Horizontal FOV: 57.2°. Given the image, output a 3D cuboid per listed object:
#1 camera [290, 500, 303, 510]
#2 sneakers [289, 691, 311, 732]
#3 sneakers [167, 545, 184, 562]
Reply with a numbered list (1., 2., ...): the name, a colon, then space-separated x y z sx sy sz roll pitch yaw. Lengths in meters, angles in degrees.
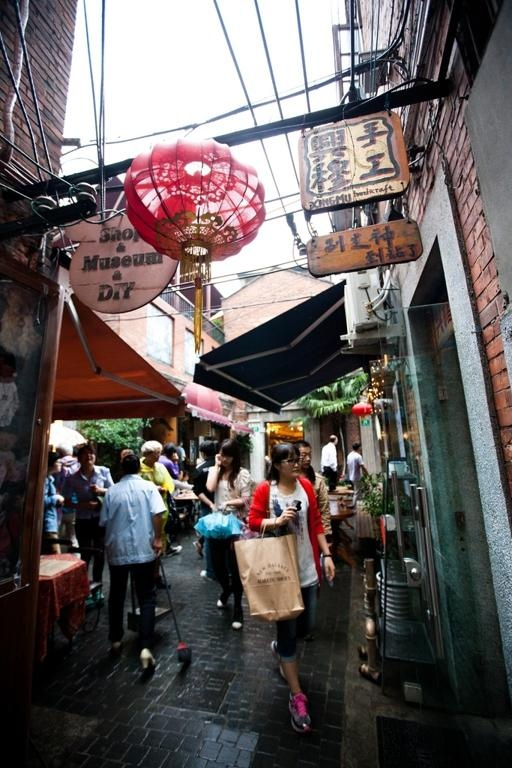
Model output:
1. camera: 0.263 0.884 3.121 0.056 0.067 0.074 2 -51 25
2. sneakers: 0.271 2.142 2.876 0.117 0.179 0.151 -2 -7 4
3. sneakers: -1.279 2.899 7.476 0.094 0.172 0.235 5 21 23
